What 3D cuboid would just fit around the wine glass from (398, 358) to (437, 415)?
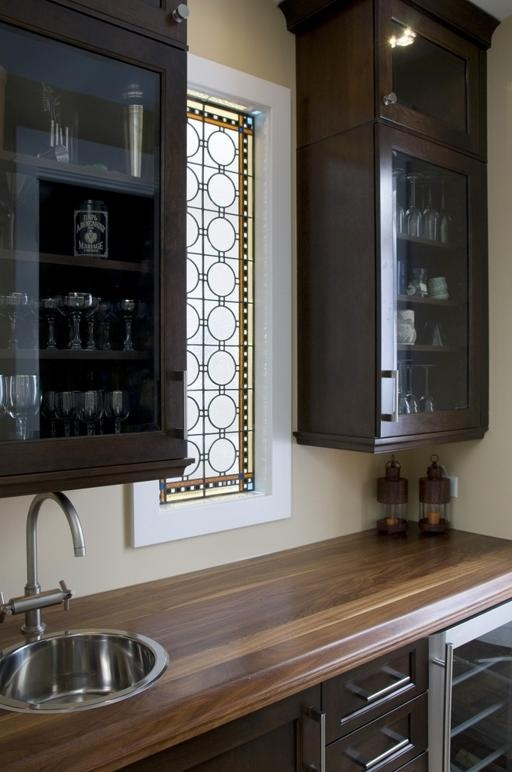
[{"bbox_3d":[0.424,0.001,1.727,0.042,0.134,0.147,0,0,38],"label":"wine glass"}]
